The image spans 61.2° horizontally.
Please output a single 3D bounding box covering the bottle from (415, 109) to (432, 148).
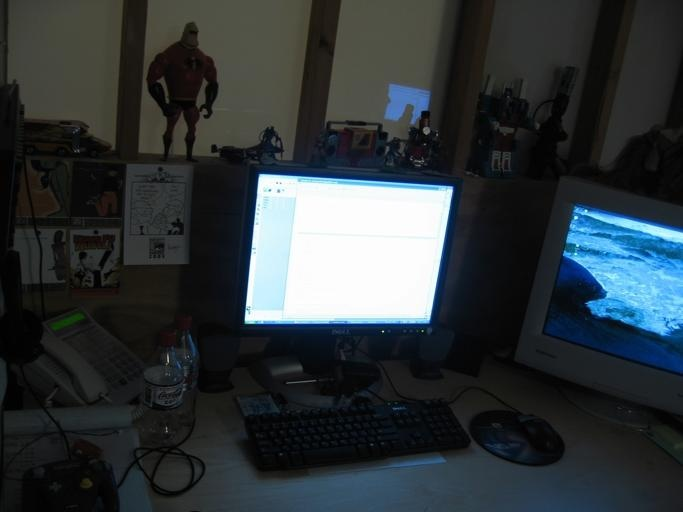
[{"bbox_3d":[0.232,-0.357,1.603,0.045,0.087,0.097,8,20,12],"label":"bottle"}]

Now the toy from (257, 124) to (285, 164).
[{"bbox_3d":[-0.191,-0.285,1.488,0.082,0.105,0.031,3,-15,-8],"label":"toy"}]

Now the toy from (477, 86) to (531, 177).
[{"bbox_3d":[0.479,-0.363,1.682,0.163,0.244,0.098,-4,20,-22],"label":"toy"}]

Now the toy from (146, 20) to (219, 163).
[{"bbox_3d":[-0.374,-0.384,1.362,0.161,0.313,0.052,-13,25,-40],"label":"toy"}]

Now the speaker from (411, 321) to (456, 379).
[{"bbox_3d":[0.253,0.274,1.647,0.084,0.128,0.105,3,6,9],"label":"speaker"}]

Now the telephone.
[{"bbox_3d":[-0.595,0.248,1.342,0.280,0.114,0.219,26,21,16],"label":"telephone"}]

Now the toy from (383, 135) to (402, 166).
[{"bbox_3d":[0.140,-0.285,1.584,0.053,0.077,0.021,2,31,-17],"label":"toy"}]

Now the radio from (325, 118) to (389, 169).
[{"bbox_3d":[0.033,-0.300,1.508,0.165,0.125,0.080,-1,25,-18],"label":"radio"}]

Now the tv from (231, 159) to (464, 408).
[{"bbox_3d":[-0.007,0.062,1.446,0.576,0.647,0.225,4,17,-24],"label":"tv"}]
